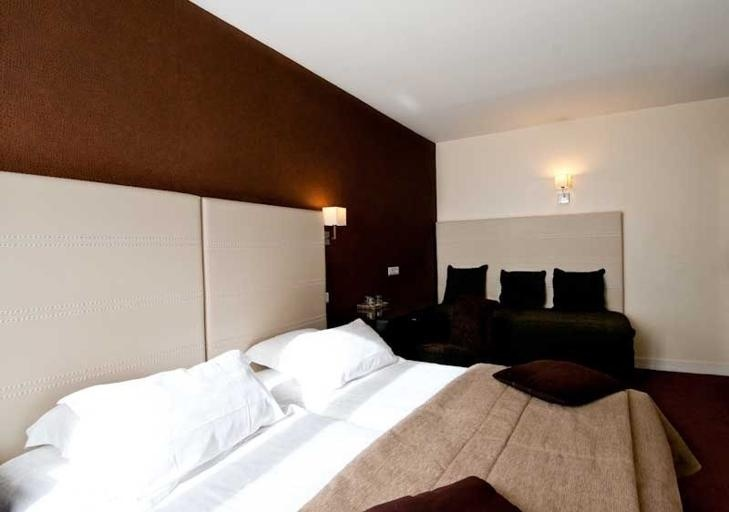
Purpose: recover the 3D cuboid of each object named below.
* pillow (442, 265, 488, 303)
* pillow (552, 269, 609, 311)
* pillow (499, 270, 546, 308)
[{"bbox_3d":[1.141,0.308,5.329,0.383,0.396,0.137,-8,-30,38],"label":"pillow"},{"bbox_3d":[2.339,0.365,4.901,0.383,0.382,0.133,4,-26,28],"label":"pillow"},{"bbox_3d":[1.760,0.379,5.175,0.421,0.451,0.178,1,-17,18],"label":"pillow"}]
